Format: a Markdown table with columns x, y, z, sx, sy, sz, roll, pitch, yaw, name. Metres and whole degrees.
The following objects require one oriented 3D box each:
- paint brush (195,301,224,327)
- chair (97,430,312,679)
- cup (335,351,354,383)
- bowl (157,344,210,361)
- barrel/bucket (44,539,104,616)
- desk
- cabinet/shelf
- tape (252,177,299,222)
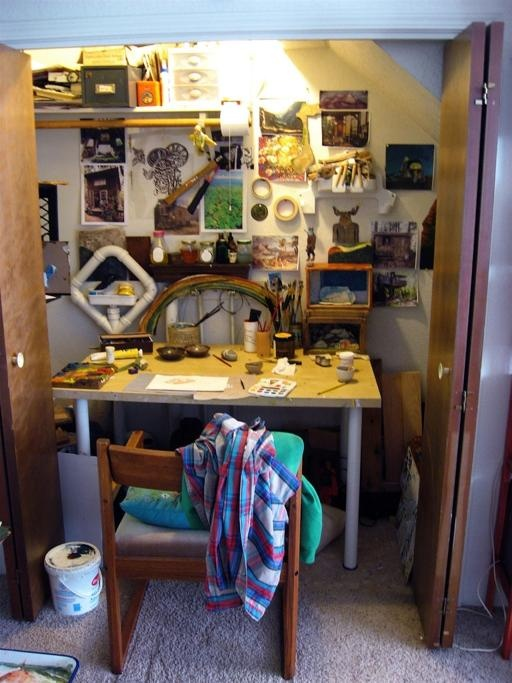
| x | y | z | sx | sy | sz | roll | pitch | yaw | name |
| --- | --- | --- | --- | --- | --- | --- | --- | --- | --- |
| -0.298 | -0.184 | 3.462 | 0.032 | 0.186 | 0.038 | 25 | 26 | -44 | paint brush |
| -0.192 | 0.722 | 2.084 | 0.647 | 0.984 | 0.689 | -1 | 12 | -2 | chair |
| 0.450 | 0.123 | 2.737 | 0.082 | 0.152 | 0.150 | 1 | 8 | 5 | cup |
| -0.424 | 0.062 | 3.138 | 0.125 | 0.044 | 0.209 | 8 | 9 | 44 | bowl |
| -0.744 | 1.001 | 2.358 | 0.240 | 0.273 | 0.246 | 3 | 13 | -1 | barrel/bucket |
| -0.047 | 0.623 | 3.086 | 2.058 | 1.318 | 1.182 | 0 | 11 | 4 | desk |
| 0.490 | -0.205 | 3.238 | 0.407 | 0.507 | 0.317 | 1 | 9 | 7 | cabinet/shelf |
| 0.115 | -0.842 | 3.264 | 0.281 | 0.258 | 0.057 | 0 | 9 | -1 | tape |
